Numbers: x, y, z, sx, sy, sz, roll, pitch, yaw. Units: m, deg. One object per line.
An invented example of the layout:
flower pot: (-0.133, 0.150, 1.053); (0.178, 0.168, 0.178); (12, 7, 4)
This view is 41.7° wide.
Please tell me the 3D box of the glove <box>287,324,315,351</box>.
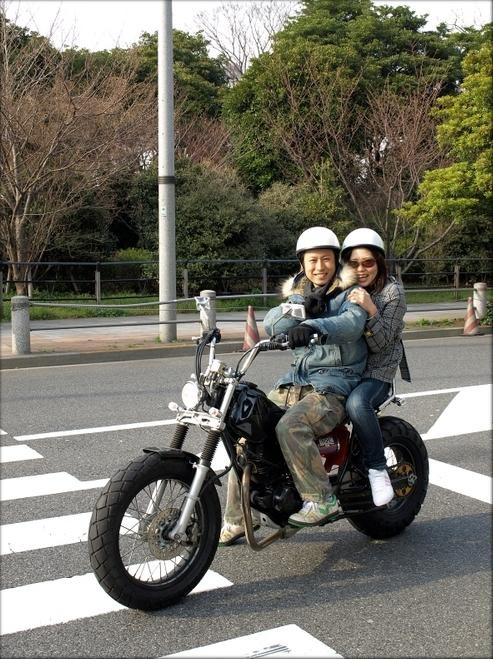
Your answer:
glove: (0.218, 0.021, 2.578); (0.088, 0.083, 0.151); (2, 5, 20)

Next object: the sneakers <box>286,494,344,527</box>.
sneakers: (0.303, 0.799, 2.892); (0.292, 0.128, 0.099); (-4, 2, -34)

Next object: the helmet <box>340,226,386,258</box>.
helmet: (0.610, -0.490, 3.411); (0.158, 0.152, 0.181); (1, -15, 3)

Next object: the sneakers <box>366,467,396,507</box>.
sneakers: (0.632, 0.734, 3.078); (0.075, 0.089, 0.225); (-33, 6, 8)

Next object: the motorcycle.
motorcycle: (0.334, 0.557, 2.845); (1.941, 1.191, 0.758); (-8, 6, -36)

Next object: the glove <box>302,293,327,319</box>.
glove: (0.314, -0.118, 2.977); (0.092, 0.128, 0.044); (-2, -2, 8)
